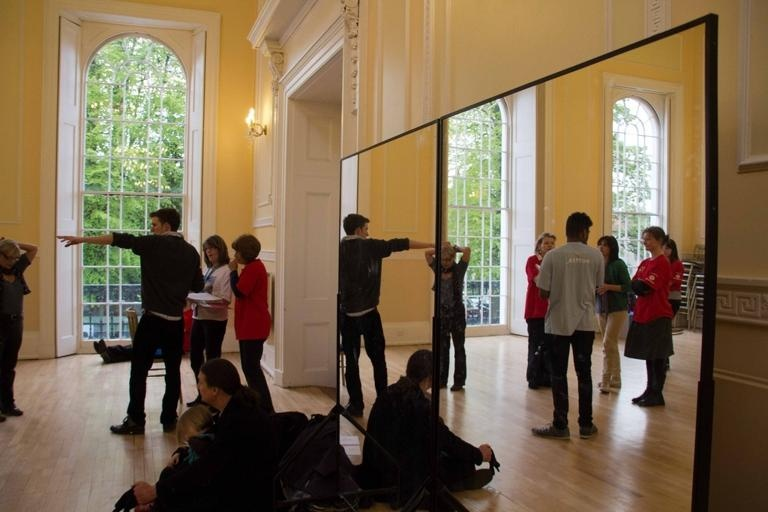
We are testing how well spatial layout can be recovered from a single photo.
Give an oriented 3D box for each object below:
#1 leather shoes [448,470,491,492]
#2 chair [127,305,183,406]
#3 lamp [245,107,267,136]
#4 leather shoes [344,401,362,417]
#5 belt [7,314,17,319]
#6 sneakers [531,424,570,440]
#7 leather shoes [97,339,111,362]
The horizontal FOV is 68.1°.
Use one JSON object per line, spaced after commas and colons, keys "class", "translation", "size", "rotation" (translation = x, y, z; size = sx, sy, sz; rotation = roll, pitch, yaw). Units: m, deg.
{"class": "leather shoes", "translation": [0.470, 1.269, 3.213], "size": [0.112, 0.096, 0.285], "rotation": [4, -17, -45]}
{"class": "chair", "translation": [-2.677, 1.122, 6.549], "size": [0.592, 0.917, 0.537], "rotation": [2, -1, -27]}
{"class": "lamp", "translation": [-1.815, -1.901, 8.123], "size": [0.237, 0.419, 0.578], "rotation": [0, 2, -19]}
{"class": "leather shoes", "translation": [-0.232, 1.179, 4.344], "size": [0.068, 0.075, 0.173], "rotation": [1, 1, -32]}
{"class": "belt", "translation": [-3.434, 0.572, 5.278], "size": [0.015, 0.042, 0.075], "rotation": [2, 3, 34]}
{"class": "sneakers", "translation": [0.843, 0.890, 2.887], "size": [0.160, 0.064, 0.057], "rotation": [0, 0, 33]}
{"class": "leather shoes", "translation": [-3.835, 1.323, 7.788], "size": [0.186, 0.315, 0.132], "rotation": [-10, -2, -30]}
